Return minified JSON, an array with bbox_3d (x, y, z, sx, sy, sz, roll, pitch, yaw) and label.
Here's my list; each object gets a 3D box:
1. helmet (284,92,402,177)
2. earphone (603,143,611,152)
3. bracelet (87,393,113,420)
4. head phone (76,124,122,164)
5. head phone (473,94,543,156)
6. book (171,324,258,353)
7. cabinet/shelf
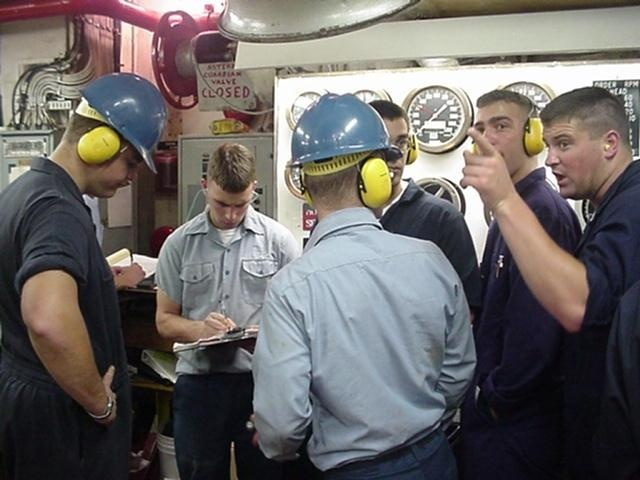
[{"bbox_3d":[0.073,-0.374,2.092,0.262,0.211,0.348,-4,9,38],"label":"helmet"},{"bbox_3d":[1.086,-0.355,2.257,0.023,0.014,0.024,-16,-18,42],"label":"earphone"},{"bbox_3d":[-0.823,0.629,2.219,0.029,0.087,0.085,14,4,24],"label":"bracelet"},{"bbox_3d":[-0.886,-0.374,2.281,0.157,0.071,0.131,-32,16,12],"label":"head phone"},{"bbox_3d":[0.990,-0.624,2.999,0.140,0.372,0.382,-17,18,-12],"label":"head phone"},{"bbox_3d":[-0.424,0.427,2.417,0.331,0.087,0.220,-4,5,-19],"label":"book"},{"bbox_3d":[-0.734,-0.554,4.674,0.749,0.763,0.430,-4,31,-14],"label":"cabinet/shelf"}]
